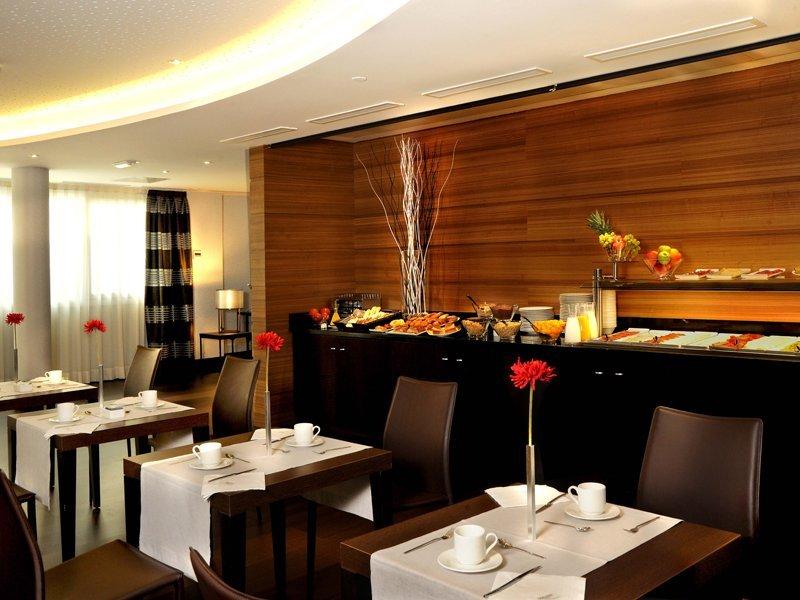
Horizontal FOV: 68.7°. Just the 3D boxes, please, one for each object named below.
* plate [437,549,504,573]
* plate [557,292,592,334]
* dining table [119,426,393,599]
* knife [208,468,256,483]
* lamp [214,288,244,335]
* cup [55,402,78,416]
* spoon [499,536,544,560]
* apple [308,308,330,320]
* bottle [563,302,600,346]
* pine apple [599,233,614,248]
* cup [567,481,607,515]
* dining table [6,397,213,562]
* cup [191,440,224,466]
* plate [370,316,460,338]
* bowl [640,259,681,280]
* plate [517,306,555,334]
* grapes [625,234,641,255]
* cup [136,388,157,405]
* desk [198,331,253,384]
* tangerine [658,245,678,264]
[{"bbox_3d":[0.213,0.767,1.722,0.204,0.024,0.125,-2,1,-6],"label":"plate"},{"bbox_3d":[1.284,0.055,4.308,0.245,0.226,0.243,-1,0,32],"label":"plate"},{"bbox_3d":[-0.750,1.001,2.834,1.070,0.595,1.098,-2,-2,45],"label":"dining table"},{"bbox_3d":[-0.714,0.736,2.468,0.222,0.002,0.065,-3,1,-42],"label":"knife"},{"bbox_3d":[-2.934,0.167,10.099,0.446,0.753,0.843,-3,2,-17],"label":"lamp"},{"bbox_3d":[-1.972,0.643,3.478,0.080,0.068,0.103,-8,-13,32],"label":"cup"},{"bbox_3d":[0.376,0.751,1.808,0.036,0.018,0.169,-4,5,-31],"label":"spoon"},{"bbox_3d":[-0.769,0.144,5.847,0.215,0.124,0.234,-1,1,16],"label":"apple"},{"bbox_3d":[1.290,0.160,4.136,0.229,0.268,0.525,-2,1,18],"label":"bottle"},{"bbox_3d":[1.558,-0.445,4.344,0.070,0.120,0.106,31,-23,-27],"label":"pine apple"},{"bbox_3d":[0.689,0.718,2.132,0.122,0.106,0.168,0,-4,-20],"label":"cup"},{"bbox_3d":[-1.932,1.025,3.840,1.258,0.804,1.208,2,-4,-42],"label":"dining table"},{"bbox_3d":[-0.869,0.681,2.626,0.157,0.092,0.099,0,0,19],"label":"cup"},{"bbox_3d":[0.228,0.203,5.133,0.592,0.159,0.862,-3,2,-44],"label":"plate"},{"bbox_3d":[1.890,-0.209,4.255,0.202,0.072,0.184,0,-4,2],"label":"bowl"},{"bbox_3d":[1.050,0.154,4.468,0.251,0.149,0.228,0,-3,2],"label":"plate"},{"bbox_3d":[1.774,-0.417,4.442,0.108,0.182,0.231,-1,2,22],"label":"grapes"},{"bbox_3d":[-1.612,0.622,3.799,0.163,0.114,0.096,-1,5,-28],"label":"cup"},{"bbox_3d":[-3.095,0.940,10.147,1.044,0.809,0.720,3,3,-20],"label":"desk"},{"bbox_3d":[1.915,-0.322,4.158,0.147,0.131,0.094,-1,2,18],"label":"tangerine"}]
